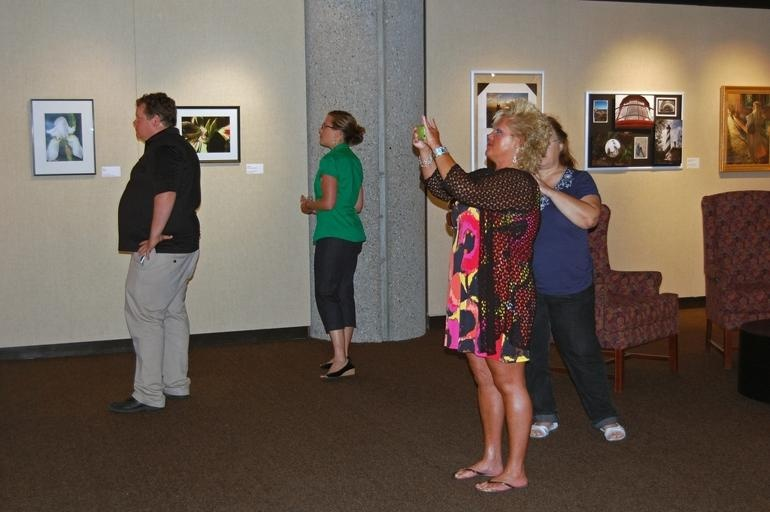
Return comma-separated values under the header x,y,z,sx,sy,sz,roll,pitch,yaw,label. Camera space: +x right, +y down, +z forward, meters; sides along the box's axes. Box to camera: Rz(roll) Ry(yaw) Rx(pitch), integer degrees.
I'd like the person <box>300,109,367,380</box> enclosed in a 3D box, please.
x,y,z,sx,sy,sz,roll,pitch,yaw,label
-0.477,-0.115,5.754,0.511,2.412,0.665,1,12,7,person

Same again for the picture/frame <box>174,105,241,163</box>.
x,y,z,sx,sy,sz,roll,pitch,yaw,label
-1.836,-1.269,6.311,0.874,0.711,0.083,-1,7,-4,picture/frame

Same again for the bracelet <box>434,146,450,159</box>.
x,y,z,sx,sy,sz,roll,pitch,yaw,label
0.338,-0.634,3.730,0.071,0.063,0.069,-6,-10,0,bracelet

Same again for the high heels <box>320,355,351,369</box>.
x,y,z,sx,sy,sz,roll,pitch,yaw,label
-0.485,1.006,5.940,0.370,0.139,0.121,0,1,-14,high heels

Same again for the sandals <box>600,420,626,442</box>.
x,y,z,sx,sy,sz,roll,pitch,yaw,label
1.657,1.296,4.607,0.088,0.109,0.192,39,-13,-33,sandals

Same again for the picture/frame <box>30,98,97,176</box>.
x,y,z,sx,sy,sz,roll,pitch,yaw,label
-3.273,-1.217,6.243,0.836,1.000,0.037,-1,0,-16,picture/frame

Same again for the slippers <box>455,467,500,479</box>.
x,y,z,sx,sy,sz,roll,pitch,yaw,label
0.605,1.418,4.058,0.263,0.068,0.100,2,-2,-1,slippers

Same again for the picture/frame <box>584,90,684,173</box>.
x,y,z,sx,sy,sz,roll,pitch,yaw,label
3.029,-1.580,7.740,1.535,1.083,0.066,0,3,-8,picture/frame

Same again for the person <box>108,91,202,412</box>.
x,y,z,sx,sy,sz,roll,pitch,yaw,label
-1.882,-0.029,5.036,0.438,2.539,0.781,9,15,37,person

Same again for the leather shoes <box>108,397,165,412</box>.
x,y,z,sx,sy,sz,roll,pitch,yaw,label
-2.048,1.220,5.097,0.405,0.172,0.156,5,-5,-4,leather shoes

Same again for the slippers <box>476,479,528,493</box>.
x,y,z,sx,sy,sz,roll,pitch,yaw,label
0.734,1.437,3.946,0.272,0.061,0.122,2,-3,-9,slippers

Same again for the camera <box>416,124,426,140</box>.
x,y,z,sx,sy,sz,roll,pitch,yaw,label
0.204,-0.758,3.764,0.073,0.079,0.073,0,1,38,camera

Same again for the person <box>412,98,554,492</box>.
x,y,z,sx,sy,sz,roll,pitch,yaw,label
0.598,0.284,3.856,0.711,2.431,0.466,2,12,14,person
